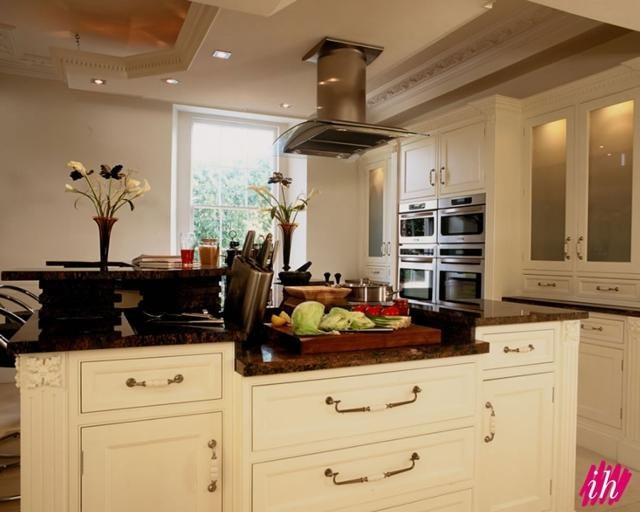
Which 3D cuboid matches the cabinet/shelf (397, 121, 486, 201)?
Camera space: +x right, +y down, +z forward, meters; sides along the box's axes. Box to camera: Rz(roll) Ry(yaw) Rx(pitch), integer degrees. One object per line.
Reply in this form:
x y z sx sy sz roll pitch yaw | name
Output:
1.174 -0.889 4.556 0.178 0.554 0.985 1 -1 -28 | cabinet/shelf

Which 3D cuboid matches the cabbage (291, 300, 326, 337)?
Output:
-0.049 0.267 2.096 0.112 0.112 0.147 -3 15 38 | cabbage

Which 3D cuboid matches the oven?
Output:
1.023 -0.002 4.773 1.190 1.064 0.442 -2 5 -35 | oven

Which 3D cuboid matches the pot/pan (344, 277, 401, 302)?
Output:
0.376 0.219 3.232 0.341 0.112 0.267 1 1 29 | pot/pan

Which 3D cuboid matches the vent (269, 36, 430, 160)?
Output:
0.119 -1.107 3.454 0.826 0.729 0.700 1 2 -17 | vent

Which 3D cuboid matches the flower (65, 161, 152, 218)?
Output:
-1.918 -0.527 4.401 0.650 0.385 0.651 14 -21 -40 | flower

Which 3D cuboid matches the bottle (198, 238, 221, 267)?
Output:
-0.648 -0.015 2.875 0.153 0.187 0.157 3 4 43 | bottle

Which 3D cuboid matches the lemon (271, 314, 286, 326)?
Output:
-0.180 0.297 2.226 0.054 0.029 0.052 6 -15 -14 | lemon
